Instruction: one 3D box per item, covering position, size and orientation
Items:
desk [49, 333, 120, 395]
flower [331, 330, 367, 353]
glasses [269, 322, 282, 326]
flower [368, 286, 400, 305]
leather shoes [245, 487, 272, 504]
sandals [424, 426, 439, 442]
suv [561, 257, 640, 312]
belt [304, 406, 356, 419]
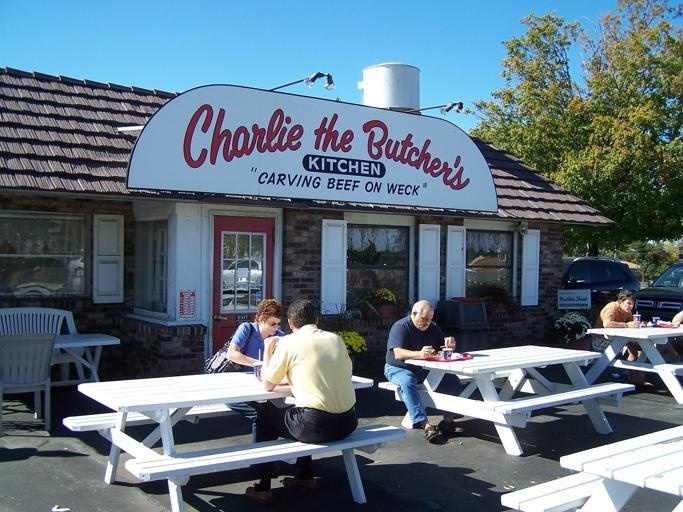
[{"bbox_3d":[-3.662,1.440,9.039,0.886,0.672,0.874,2,-4,-29],"label":"desk"},{"bbox_3d":[0.183,1.404,10.636,0.533,0.384,0.521,0,1,14],"label":"flower"},{"bbox_3d":[-0.749,0.765,7.152,0.068,0.046,0.083,0,0,-36],"label":"glasses"},{"bbox_3d":[0.806,0.743,11.949,0.682,0.306,0.266,0,5,-22],"label":"flower"},{"bbox_3d":[-0.804,2.308,6.159,0.256,0.105,0.114,5,1,38],"label":"leather shoes"},{"bbox_3d":[1.113,2.179,7.745,0.182,0.200,0.141,2,5,8],"label":"sandals"},{"bbox_3d":[6.657,0.725,16.580,2.213,1.184,1.404,5,-6,-28],"label":"suv"},{"bbox_3d":[-0.104,1.511,6.097,0.534,0.139,0.125,0,5,-19],"label":"belt"}]
